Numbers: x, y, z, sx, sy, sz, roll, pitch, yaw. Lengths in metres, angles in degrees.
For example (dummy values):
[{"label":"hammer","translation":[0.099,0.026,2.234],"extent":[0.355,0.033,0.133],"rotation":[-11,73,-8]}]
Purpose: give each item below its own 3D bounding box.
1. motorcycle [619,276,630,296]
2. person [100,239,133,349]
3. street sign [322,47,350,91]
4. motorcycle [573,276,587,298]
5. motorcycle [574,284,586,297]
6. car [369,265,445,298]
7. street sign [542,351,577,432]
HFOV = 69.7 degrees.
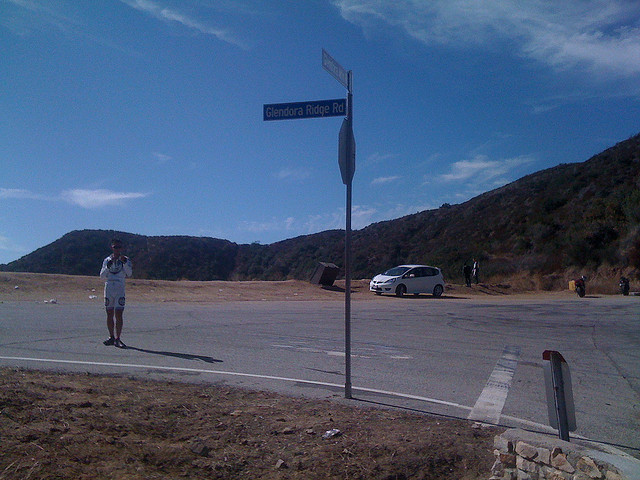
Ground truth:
[{"label":"motorcycle","translation":[17.882,2.758,27.062],"extent":[0.451,1.023,0.683],"rotation":[-1,-4,32]},{"label":"person","translation":[-4.161,1.086,9.338],"extent":[0.531,2.186,0.431],"rotation":[2,-4,-22]},{"label":"street sign","translation":[0.229,-2.393,6.462],"extent":[0.061,0.341,0.911],"rotation":[-17,47,-19]},{"label":"motorcycle","translation":[15.079,2.740,26.584],"extent":[0.619,1.358,0.746],"rotation":[6,1,0]},{"label":"motorcycle","translation":[14.900,2.899,26.413],"extent":[0.400,0.717,0.422],"rotation":[-6,23,-15]},{"label":"car","translation":[5.010,2.370,26.259],"extent":[4.009,1.786,1.532],"rotation":[3,-4,-27]},{"label":"street sign","translation":[2.397,1.540,4.617],"extent":[0.272,0.839,0.371],"rotation":[-1,-4,27]}]
